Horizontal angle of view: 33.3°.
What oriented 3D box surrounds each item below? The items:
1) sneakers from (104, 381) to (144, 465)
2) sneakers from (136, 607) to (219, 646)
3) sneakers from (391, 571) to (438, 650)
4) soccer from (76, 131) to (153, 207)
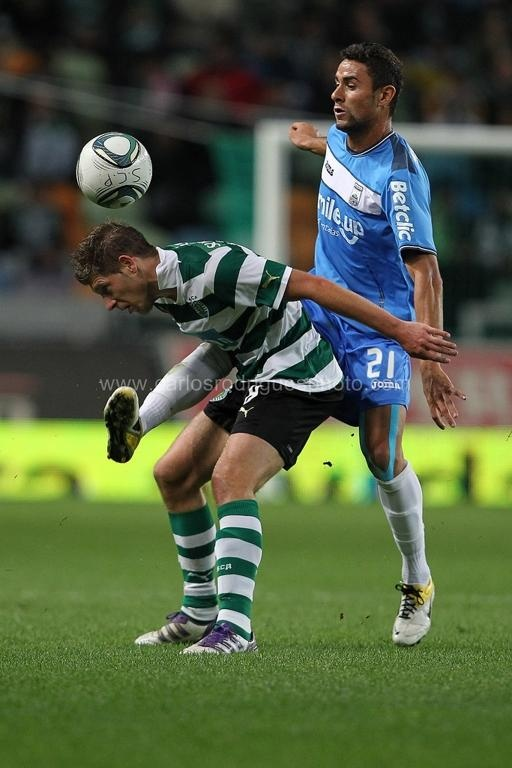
[{"bbox_3d":[-0.493,0.123,2.977,0.109,0.297,0.153,22,33,17],"label":"sneakers"},{"bbox_3d":[-0.276,0.853,3.044,0.335,0.127,0.105,1,-8,-21],"label":"sneakers"},{"bbox_3d":[0.613,0.851,3.206,0.106,0.124,0.294,-5,20,22],"label":"sneakers"},{"bbox_3d":[-0.516,-0.788,3.159,0.290,0.257,0.250,-7,40,-19],"label":"soccer"}]
